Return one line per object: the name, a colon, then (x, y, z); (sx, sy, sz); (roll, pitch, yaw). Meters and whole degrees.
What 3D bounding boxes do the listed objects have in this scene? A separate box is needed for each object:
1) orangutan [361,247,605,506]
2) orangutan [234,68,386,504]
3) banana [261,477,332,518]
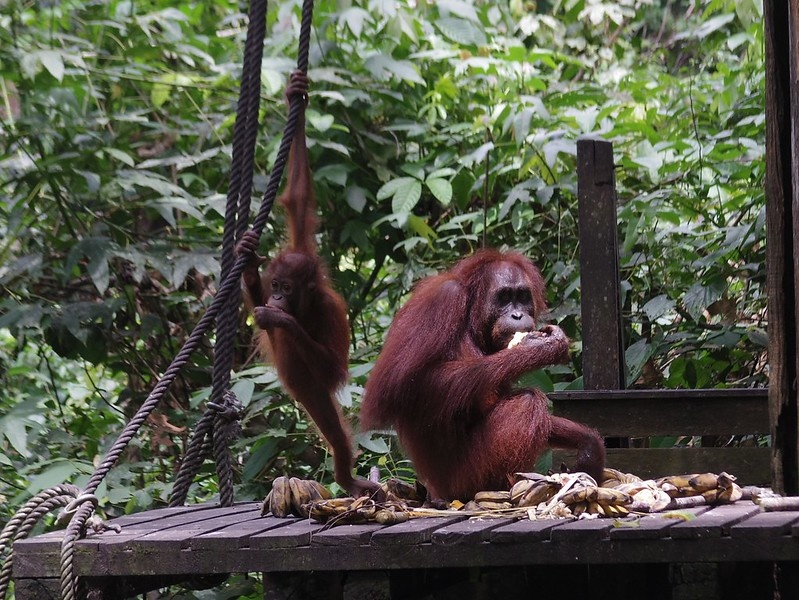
orangutan: (0.302, 0.361, 3.923); (0.886, 1.090, 0.636); (4, -12, -34)
orangutan: (-0.336, -0.055, 3.843); (0.451, 1.533, 0.361); (-2, -5, -14)
banana: (-0.343, 0.665, 3.499); (0.188, 0.116, 0.123); (-10, -19, 14)
